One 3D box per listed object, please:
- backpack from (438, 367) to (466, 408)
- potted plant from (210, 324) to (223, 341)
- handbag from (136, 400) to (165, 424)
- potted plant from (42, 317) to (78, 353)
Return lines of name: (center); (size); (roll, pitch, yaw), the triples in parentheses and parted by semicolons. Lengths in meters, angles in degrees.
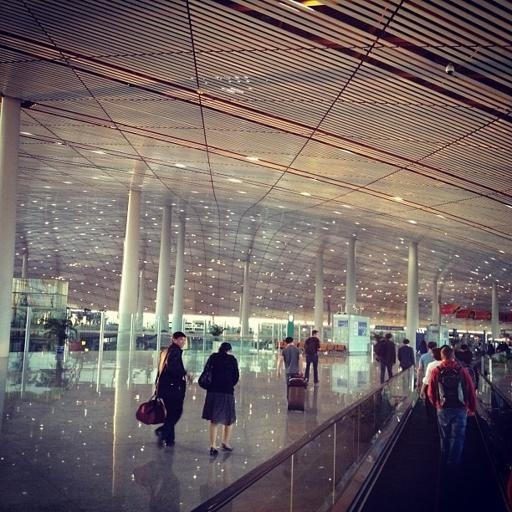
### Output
backpack: (2.854, 1.891, 6.863); (0.419, 0.504, 0.191); (13, -2, -15)
potted plant: (-2.994, 6.618, 41.732); (1.929, 1.655, 1.676); (2, -9, -6)
handbag: (-1.501, 2.242, 6.893); (0.420, 0.386, 0.266); (12, -2, -8)
potted plant: (-7.812, 3.068, 19.019); (0.809, 1.437, 1.803); (13, -2, 0)
